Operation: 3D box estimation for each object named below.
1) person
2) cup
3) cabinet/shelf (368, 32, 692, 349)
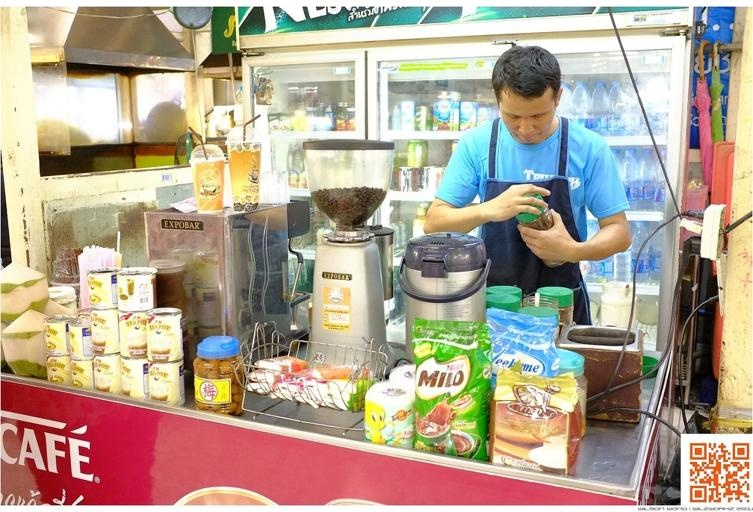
[{"bbox_3d":[0.651,-0.276,2.596,0.744,1.232,0.747,-5,5,-41],"label":"person"},{"bbox_3d":[-0.532,-0.282,1.933,0.232,0.258,0.243,-1,4,0],"label":"cup"},{"bbox_3d":[0.764,-0.156,2.877,0.999,0.905,0.369,13,16,27],"label":"cabinet/shelf"}]
